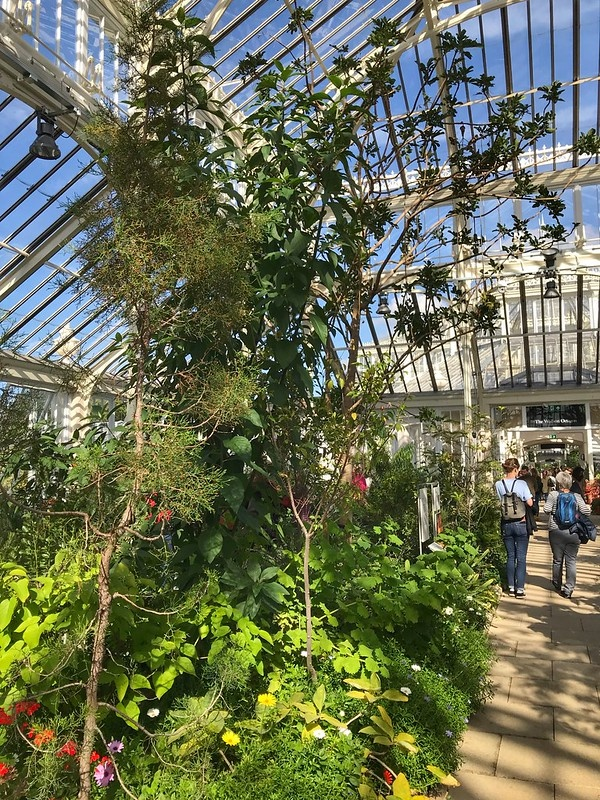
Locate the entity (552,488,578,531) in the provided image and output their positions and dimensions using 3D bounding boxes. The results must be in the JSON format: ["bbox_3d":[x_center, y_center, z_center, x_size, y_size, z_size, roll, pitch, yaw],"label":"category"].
[{"bbox_3d":[2.177,0.913,5.278,0.115,0.308,0.225,8,-10,-24],"label":"entity"}]

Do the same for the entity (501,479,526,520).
[{"bbox_3d":[1.761,0.838,5.305,0.178,0.342,0.123,-2,-11,30],"label":"entity"}]
